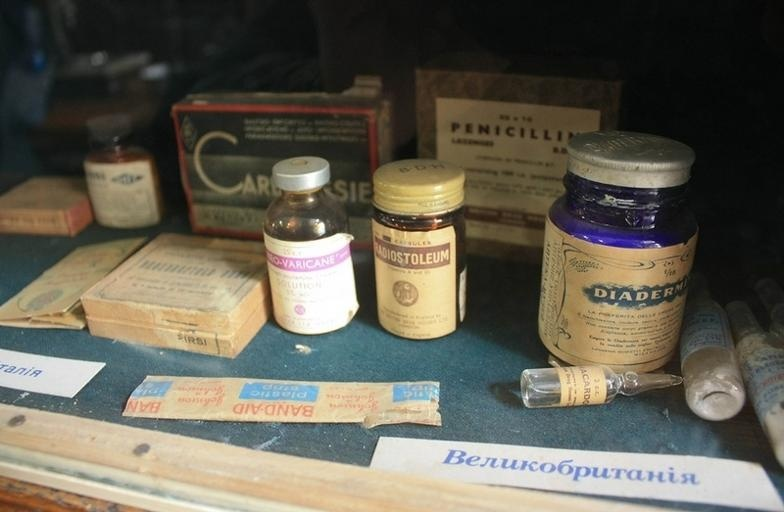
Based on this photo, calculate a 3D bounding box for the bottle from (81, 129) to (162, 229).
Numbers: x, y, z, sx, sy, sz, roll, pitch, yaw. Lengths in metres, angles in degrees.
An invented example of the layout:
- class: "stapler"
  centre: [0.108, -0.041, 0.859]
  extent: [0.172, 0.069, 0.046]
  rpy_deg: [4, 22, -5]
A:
- class: "bottle"
  centre: [-0.569, -0.160, 1.390]
  extent: [0.151, 0.219, 0.046]
  rpy_deg: [-5, 33, -2]

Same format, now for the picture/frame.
- class: "picture/frame"
  centre: [0.267, -0.172, 1.306]
  extent: [0.322, 0.284, 0.113]
  rpy_deg: [13, 28, 34]
